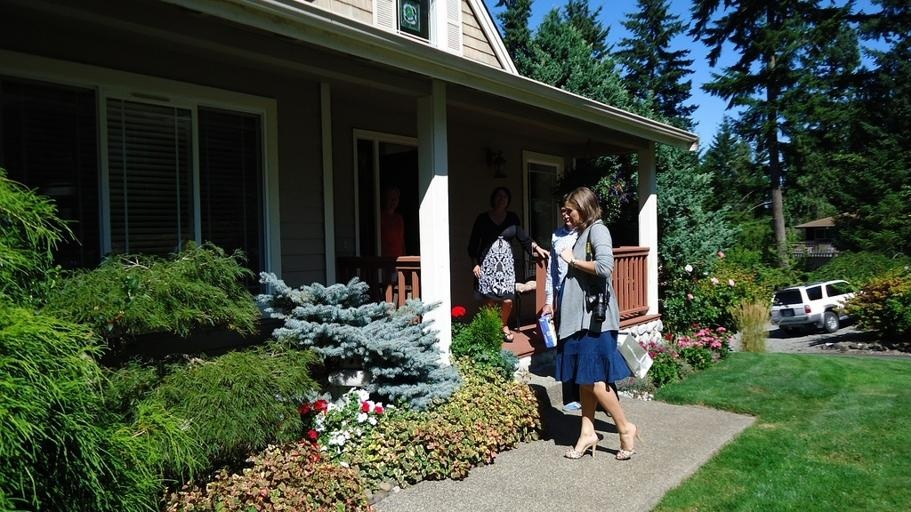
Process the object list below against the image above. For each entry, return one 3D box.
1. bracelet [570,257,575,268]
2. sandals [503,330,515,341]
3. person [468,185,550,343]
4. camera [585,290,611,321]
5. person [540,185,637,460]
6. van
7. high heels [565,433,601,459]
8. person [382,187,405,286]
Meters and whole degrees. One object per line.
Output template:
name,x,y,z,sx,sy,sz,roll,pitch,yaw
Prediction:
bracelet,1.358,0.070,6.644,0.045,0.076,0.096,3,9,-16
sandals,0.836,1.246,8.887,0.128,0.088,0.356,2,7,4
person,0.713,0.145,8.744,1.052,2.344,0.654,1,10,9
camera,1.653,0.577,6.561,0.225,0.336,0.131,1,-27,8
person,1.672,0.798,6.774,0.893,3.166,0.663,2,10,9
van,13.038,1.813,20.491,3.522,1.512,1.729,-14,7,-37
high heels,1.594,2.293,6.884,0.529,0.228,0.189,2,-2,-24
person,-1.002,-0.195,9.019,0.482,1.648,0.456,-1,5,-22
